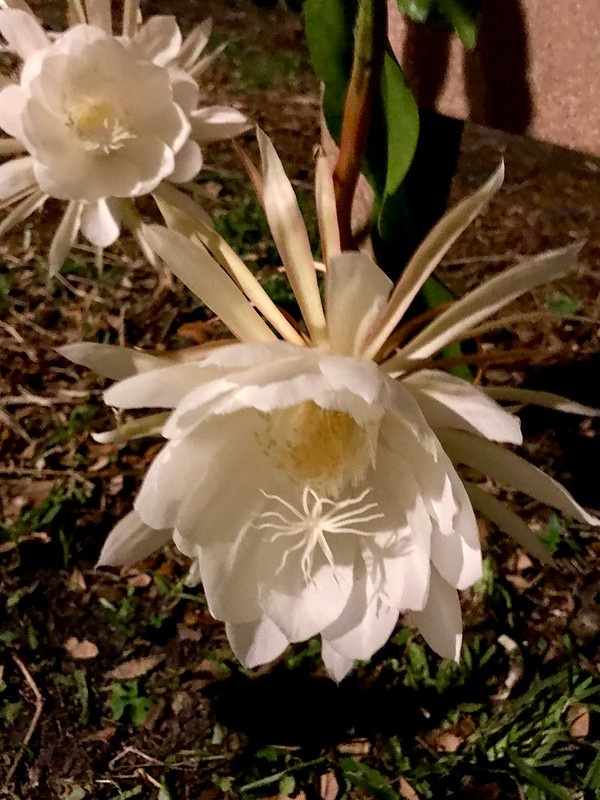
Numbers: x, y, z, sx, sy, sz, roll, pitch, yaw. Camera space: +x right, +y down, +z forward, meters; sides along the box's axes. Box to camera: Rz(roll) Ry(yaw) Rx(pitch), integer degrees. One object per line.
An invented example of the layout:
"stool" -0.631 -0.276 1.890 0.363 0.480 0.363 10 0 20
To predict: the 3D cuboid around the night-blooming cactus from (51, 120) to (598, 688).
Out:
"night-blooming cactus" 0.076 0.024 1.053 0.635 0.317 0.545 10 61 8
